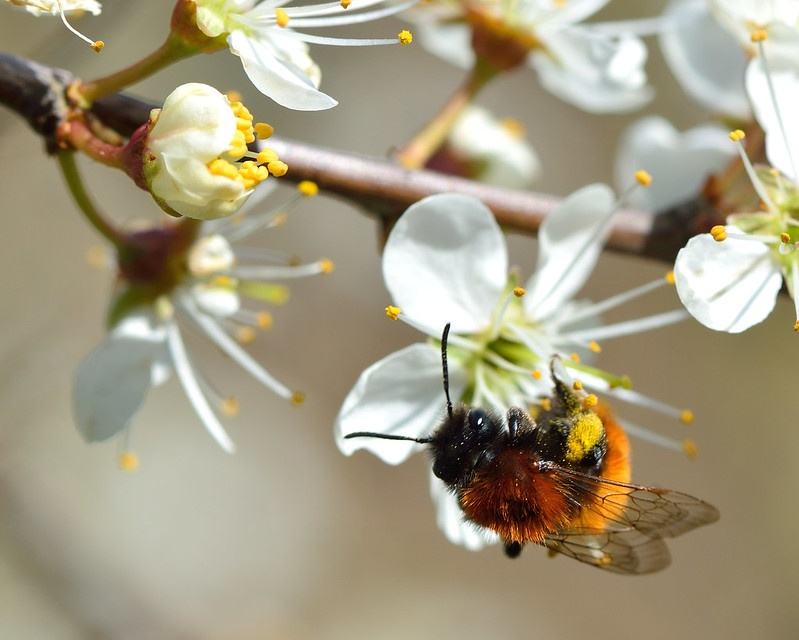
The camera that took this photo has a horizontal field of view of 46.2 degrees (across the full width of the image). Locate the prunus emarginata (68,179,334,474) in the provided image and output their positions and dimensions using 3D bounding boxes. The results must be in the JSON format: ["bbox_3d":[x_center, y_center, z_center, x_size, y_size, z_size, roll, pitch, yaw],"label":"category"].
[{"bbox_3d":[-0.555,0.032,2.666,0.486,0.755,0.483,1,-53,16],"label":"prunus emarginata"}]

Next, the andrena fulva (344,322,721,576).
[{"bbox_3d":[0.382,0.391,2.670,0.938,0.364,0.693,19,-17,-31],"label":"andrena fulva"}]
